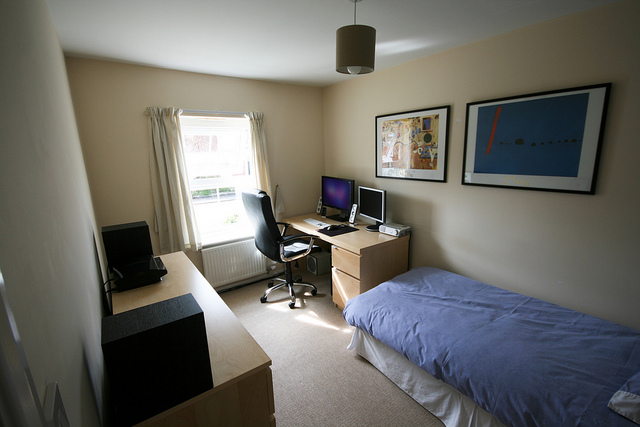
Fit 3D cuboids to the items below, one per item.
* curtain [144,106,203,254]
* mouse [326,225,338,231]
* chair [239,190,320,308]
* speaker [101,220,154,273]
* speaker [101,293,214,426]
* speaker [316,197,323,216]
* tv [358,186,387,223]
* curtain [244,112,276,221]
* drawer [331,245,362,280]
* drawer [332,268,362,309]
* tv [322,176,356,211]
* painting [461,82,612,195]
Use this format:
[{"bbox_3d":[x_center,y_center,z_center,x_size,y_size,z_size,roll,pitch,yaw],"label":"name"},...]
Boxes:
[{"bbox_3d":[-1.588,-0.357,4.564,0.457,1.604,0.210,-3,8,25],"label":"curtain"},{"bbox_3d":[0.128,0.167,4.781,0.156,0.029,0.075,-12,15,-34],"label":"mouse"},{"bbox_3d":[-0.410,0.356,4.822,0.738,1.314,0.726,-10,17,-29],"label":"chair"},{"bbox_3d":[-1.599,0.291,3.513,0.389,0.401,0.127,-7,10,-32],"label":"speaker"},{"bbox_3d":[-0.954,0.906,2.501,0.700,0.710,0.373,-12,15,-37],"label":"speaker"},{"bbox_3d":[-0.008,-0.100,5.512,0.065,0.225,0.191,-4,13,-5],"label":"speaker"},{"bbox_3d":[0.580,-0.110,4.771,0.044,0.341,0.445,-9,15,-29],"label":"tv"},{"bbox_3d":[-0.707,-0.564,5.068,0.292,1.268,0.140,-8,14,-22],"label":"curtain"},{"bbox_3d":[0.276,0.501,4.349,0.268,0.218,0.403,-2,9,-30],"label":"drawer"},{"bbox_3d":[0.291,0.773,4.686,0.312,0.465,0.484,2,-18,2],"label":"drawer"},{"bbox_3d":[0.212,-0.248,5.183,0.077,0.383,0.649,-11,15,-31],"label":"tv"},{"bbox_3d":[1.871,-0.647,3.586,0.950,0.777,0.041,10,15,42],"label":"painting"}]
